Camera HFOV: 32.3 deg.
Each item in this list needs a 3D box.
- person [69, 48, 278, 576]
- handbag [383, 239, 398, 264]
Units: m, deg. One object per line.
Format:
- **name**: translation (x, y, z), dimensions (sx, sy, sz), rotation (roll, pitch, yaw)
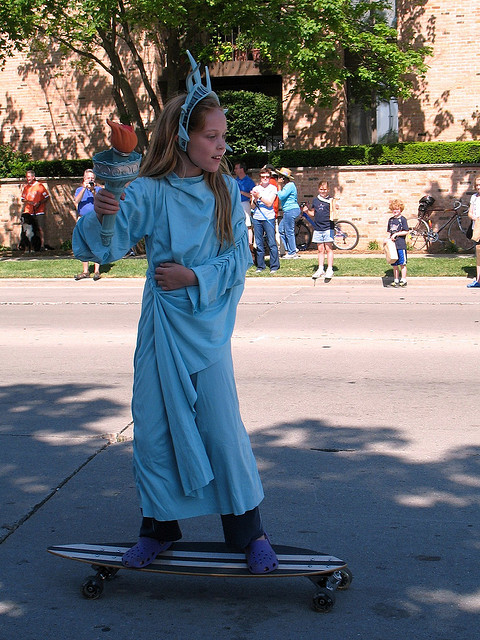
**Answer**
- **person**: translation (-0.254, -0.011, 3.296), dimensions (0.753, 2.003, 0.666), rotation (-4, 10, -14)
- **handbag**: translation (2.515, -1.166, 13.752), dimensions (0.210, 0.412, 0.364), rotation (0, 9, 11)
